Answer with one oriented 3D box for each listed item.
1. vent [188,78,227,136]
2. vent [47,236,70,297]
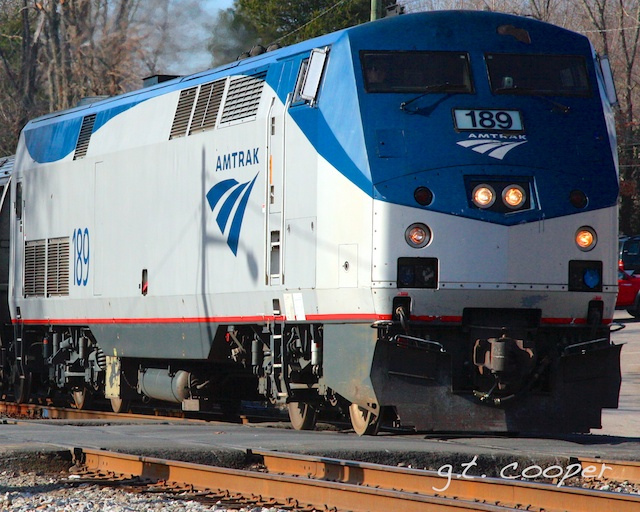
[{"bbox_3d":[-1.538,-2.040,12.495,0.126,1.044,0.903,18,-9,-27],"label":"vent"},{"bbox_3d":[-4.436,0.193,15.432,0.139,1.044,0.986,3,-5,-27],"label":"vent"}]
